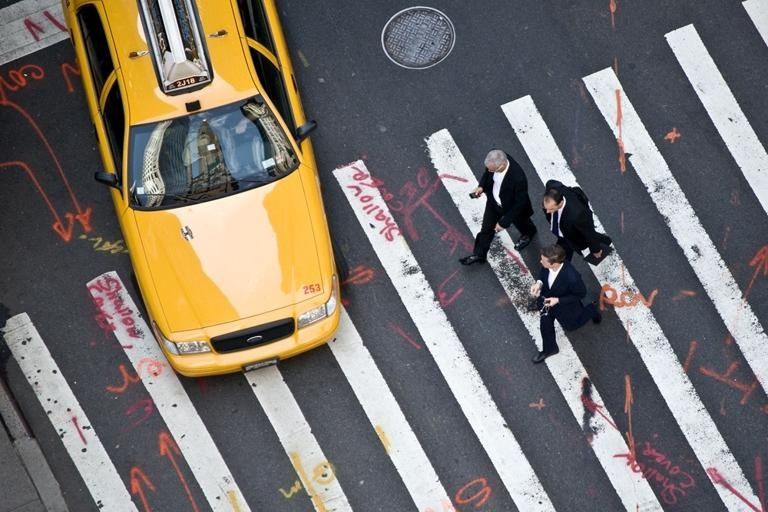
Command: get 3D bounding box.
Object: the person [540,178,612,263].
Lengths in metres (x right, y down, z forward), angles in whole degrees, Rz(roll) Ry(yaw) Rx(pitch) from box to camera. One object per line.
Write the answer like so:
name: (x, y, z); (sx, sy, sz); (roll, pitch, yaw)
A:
person: (3.497, -0.589, 21.730); (0.717, 1.247, 0.602); (-44, 67, 5)

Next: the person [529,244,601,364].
person: (3.305, 0.774, 21.589); (1.410, 2.519, 0.946); (-15, 39, -9)

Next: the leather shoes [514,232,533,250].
leather shoes: (2.653, -0.295, 22.611); (0.486, 0.192, 0.185); (-44, 71, 14)

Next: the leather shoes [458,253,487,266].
leather shoes: (1.676, 0.100, 22.451); (0.487, 0.241, 0.219); (-1, 71, 3)

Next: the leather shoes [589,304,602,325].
leather shoes: (3.936, 1.098, 22.144); (0.149, 0.141, 0.346); (-24, 100, 19)

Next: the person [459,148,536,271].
person: (2.108, -0.772, 22.210); (1.166, 1.664, 0.743); (-40, 67, -7)
